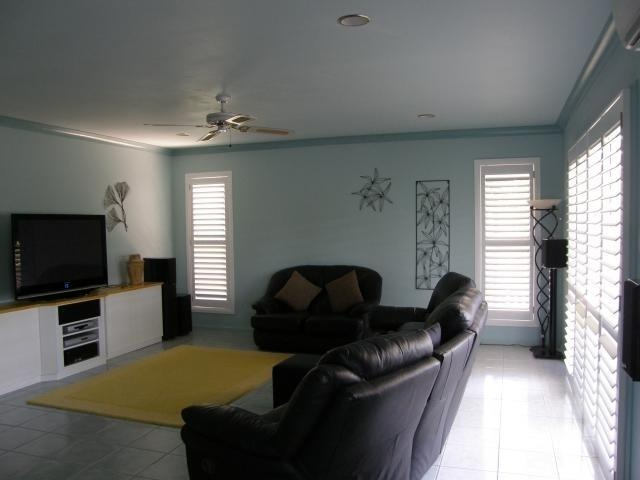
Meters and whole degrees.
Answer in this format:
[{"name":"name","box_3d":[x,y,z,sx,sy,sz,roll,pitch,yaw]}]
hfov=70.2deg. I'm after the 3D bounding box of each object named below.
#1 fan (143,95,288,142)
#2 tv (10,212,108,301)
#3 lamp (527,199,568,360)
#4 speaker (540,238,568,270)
[{"name":"fan","box_3d":[-1.299,-1.291,5.225,1.333,0.407,2.516,-3,6,-21]},{"name":"tv","box_3d":[-3.098,0.207,5.333,0.081,0.887,1.081,0,2,25]},{"name":"lamp","box_3d":[2.708,0.464,5.465,0.408,1.898,0.918,2,6,26]},{"name":"speaker","box_3d":[2.604,0.158,5.054,0.252,0.341,0.173,2,6,25]}]
